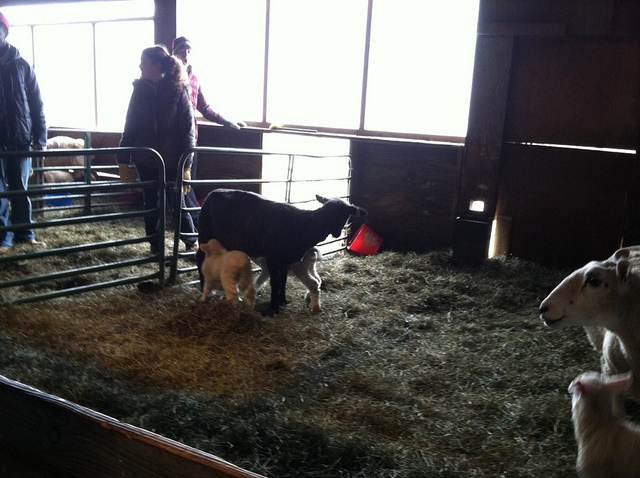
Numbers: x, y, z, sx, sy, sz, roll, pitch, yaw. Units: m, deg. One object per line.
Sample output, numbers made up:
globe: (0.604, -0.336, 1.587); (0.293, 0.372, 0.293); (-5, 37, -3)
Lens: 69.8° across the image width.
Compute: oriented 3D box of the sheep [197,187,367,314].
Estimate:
sheep: (-0.367, 0.100, 3.693); (1.321, 0.957, 0.371); (6, 12, 9)

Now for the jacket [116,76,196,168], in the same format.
jacket: (-1.538, -1.120, 4.399); (0.664, 0.837, 0.245); (1, 5, -22)

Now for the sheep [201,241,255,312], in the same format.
sheep: (-0.743, 0.257, 3.552); (0.282, 0.521, 0.628); (-6, 7, -34)

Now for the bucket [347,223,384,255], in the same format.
bucket: (0.537, 0.052, 5.828); (0.287, 0.389, 0.381); (32, -10, -4)

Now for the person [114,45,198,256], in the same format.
person: (-1.523, -0.824, 4.352); (0.756, 1.963, 0.837); (1, 6, -24)

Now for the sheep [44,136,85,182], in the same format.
sheep: (-3.973, -1.258, 7.121); (0.539, 0.732, 0.980); (0, 6, -30)
